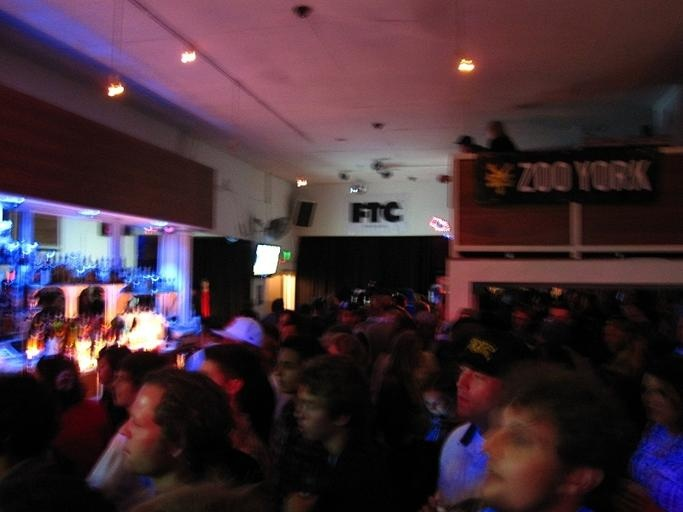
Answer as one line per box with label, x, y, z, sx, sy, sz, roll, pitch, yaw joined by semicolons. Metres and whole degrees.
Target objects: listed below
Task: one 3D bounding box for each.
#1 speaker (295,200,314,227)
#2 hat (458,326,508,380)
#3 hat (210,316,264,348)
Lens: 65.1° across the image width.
speaker;-0.817;-0.935;11.945;0.460;0.557;0.138;0;-3;11
hat;0.639;0.455;2.438;0.149;0.168;0.188;10;3;-7
hat;-0.728;0.550;3.882;0.297;0.154;0.181;9;-9;5
